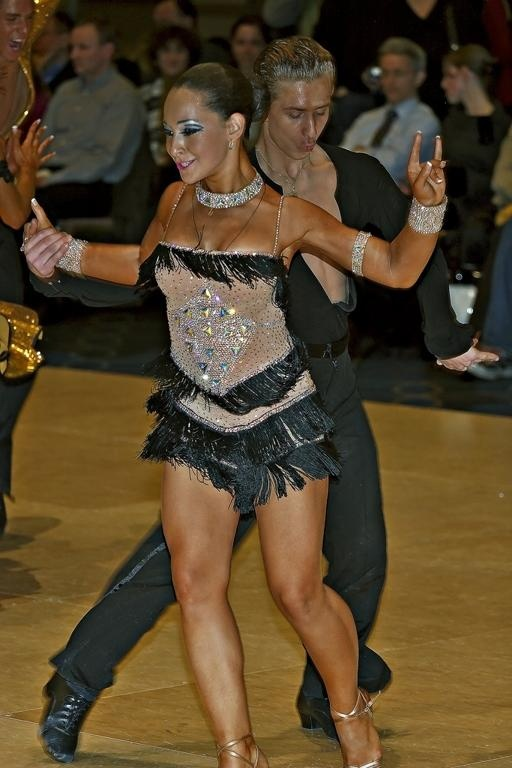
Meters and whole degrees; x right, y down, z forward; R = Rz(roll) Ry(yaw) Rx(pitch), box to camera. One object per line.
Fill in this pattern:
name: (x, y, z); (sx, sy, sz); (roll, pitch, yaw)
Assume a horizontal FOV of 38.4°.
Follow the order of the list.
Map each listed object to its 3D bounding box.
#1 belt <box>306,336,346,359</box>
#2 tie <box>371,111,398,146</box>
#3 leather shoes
belt: (0.164, -0.079, 1.668); (0.071, 0.019, 0.065); (-3, 12, 3)
tie: (1.193, -2.327, 6.724); (0.104, 0.116, 0.430); (36, 81, 26)
leather shoes: (-0.408, 0.724, 1.660); (0.079, 0.103, 0.219); (30, 36, -30)
